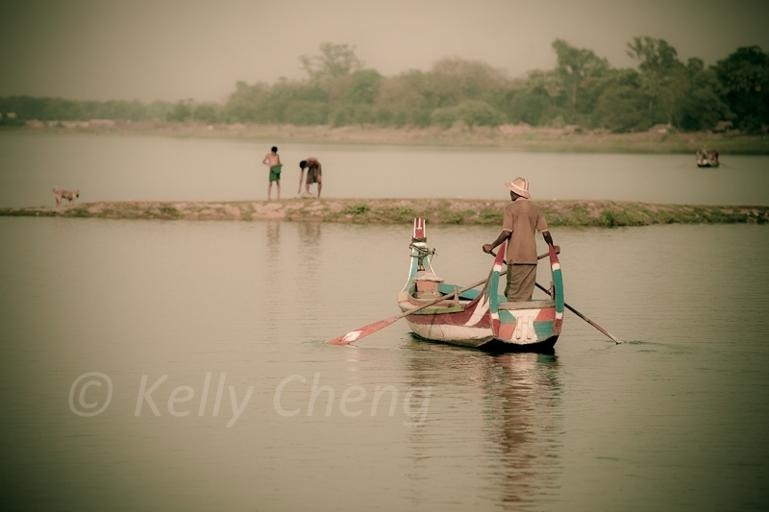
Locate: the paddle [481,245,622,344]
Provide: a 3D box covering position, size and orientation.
[{"bbox_3d":[3.496,0.876,24.744,3.296,0.891,0.176,34,12,-19],"label":"paddle"}]

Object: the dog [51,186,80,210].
[{"bbox_3d":[-10.573,-1.931,39.299,0.826,0.618,0.463,-2,6,-16],"label":"dog"}]

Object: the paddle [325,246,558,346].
[{"bbox_3d":[1.269,0.960,26.004,5.353,0.198,0.548,-20,52,-14],"label":"paddle"}]

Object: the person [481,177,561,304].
[{"bbox_3d":[2.804,-0.336,24.245,1.366,2.502,0.786,1,6,13],"label":"person"}]

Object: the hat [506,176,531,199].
[{"bbox_3d":[2.782,-1.403,24.440,0.549,0.274,0.446,21,8,2],"label":"hat"}]
